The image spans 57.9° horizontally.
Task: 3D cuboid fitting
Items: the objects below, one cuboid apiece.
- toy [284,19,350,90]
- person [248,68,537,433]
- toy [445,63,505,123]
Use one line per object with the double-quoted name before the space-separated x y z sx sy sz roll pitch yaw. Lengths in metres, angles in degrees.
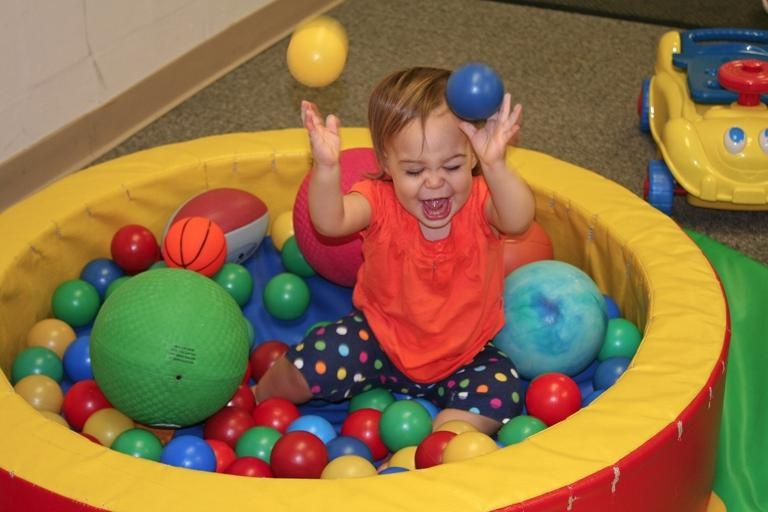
"toy" -0.215 -0.655 2.208 0.165 0.120 0.233 18 90 -3
"person" 0.091 -0.012 2.035 0.760 0.938 0.649 10 48 7
"toy" 0.238 -0.412 1.802 0.125 0.154 0.140 -8 41 15
